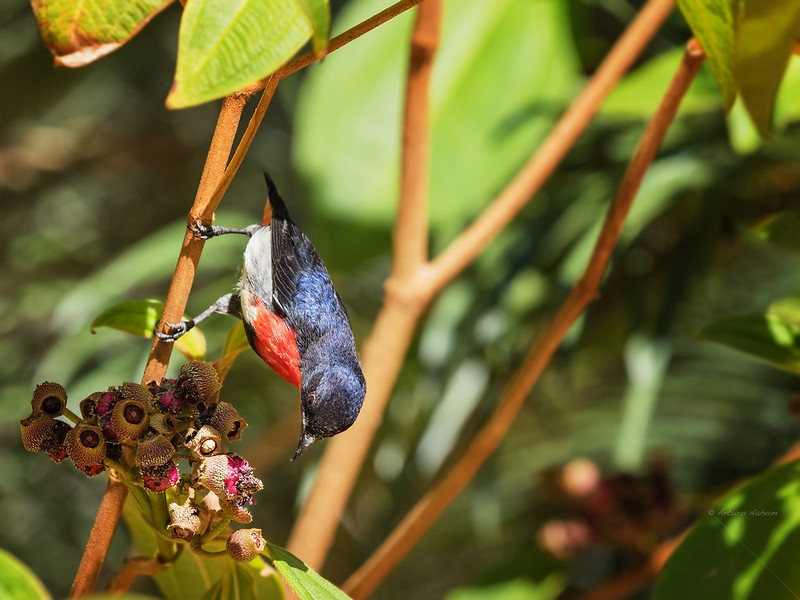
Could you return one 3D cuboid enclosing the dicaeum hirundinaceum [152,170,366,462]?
[{"bbox_3d":[-0.219,0.045,1.654,0.366,0.679,0.263,4,-10,22],"label":"dicaeum hirundinaceum"}]
